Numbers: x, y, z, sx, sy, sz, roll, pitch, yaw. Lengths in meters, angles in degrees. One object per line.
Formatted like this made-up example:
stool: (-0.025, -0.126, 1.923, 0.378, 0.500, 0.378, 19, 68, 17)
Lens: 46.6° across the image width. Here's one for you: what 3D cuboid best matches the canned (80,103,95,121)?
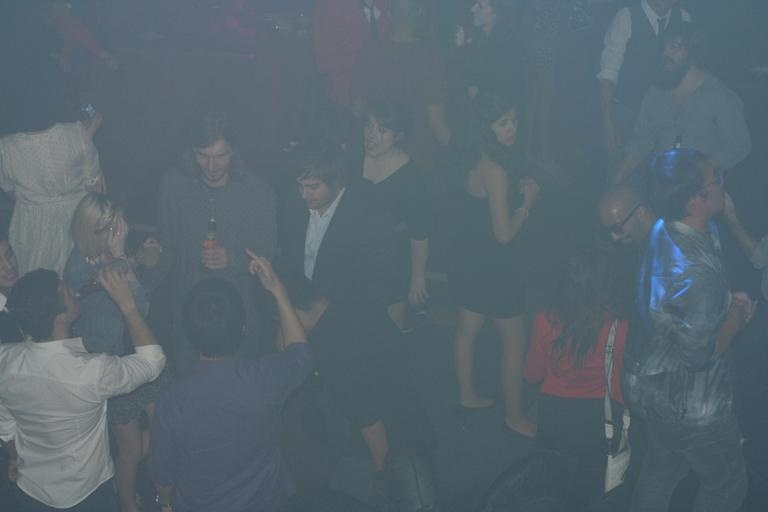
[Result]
canned: (-1.810, -0.882, 5.450, 0.095, 0.093, 0.036, 15, 2, 1)
